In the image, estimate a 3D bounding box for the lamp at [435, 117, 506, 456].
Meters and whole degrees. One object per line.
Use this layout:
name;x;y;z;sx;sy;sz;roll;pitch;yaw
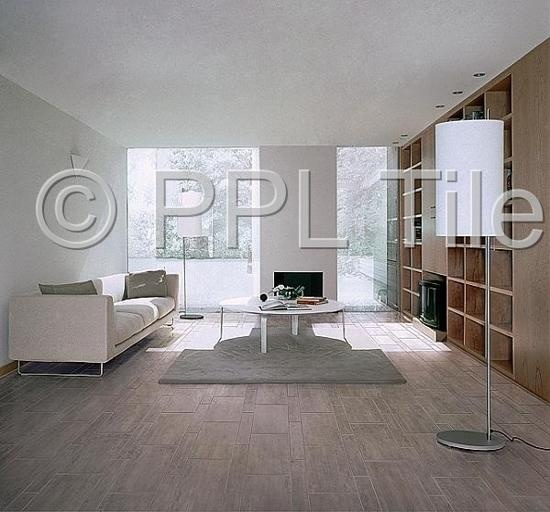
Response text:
lamp;1.197;0.172;2.436;0.391;1.986;0.414;0;3;24

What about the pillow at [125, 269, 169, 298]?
pillow;-1.931;0.439;5.921;0.405;0.276;0.136;-4;-32;-11

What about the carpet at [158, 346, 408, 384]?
carpet;0.057;1.136;4.076;2.343;0.070;1.009;-1;3;2

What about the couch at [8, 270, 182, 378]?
couch;-2.118;0.706;5.185;1.181;0.915;2.843;-1;3;1

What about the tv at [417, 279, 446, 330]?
tv;2.307;0.723;5.757;0.285;0.662;0.719;-1;1;3

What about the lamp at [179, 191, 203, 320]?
lamp;-1.537;-0.054;7.084;0.414;2.275;0.825;-2;3;-14
